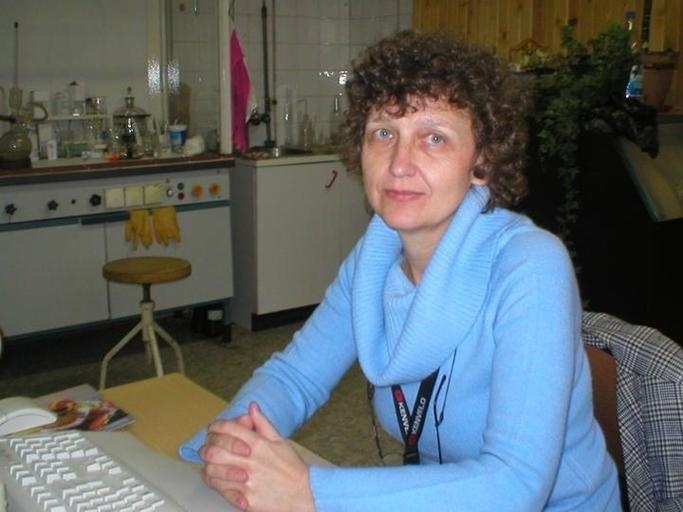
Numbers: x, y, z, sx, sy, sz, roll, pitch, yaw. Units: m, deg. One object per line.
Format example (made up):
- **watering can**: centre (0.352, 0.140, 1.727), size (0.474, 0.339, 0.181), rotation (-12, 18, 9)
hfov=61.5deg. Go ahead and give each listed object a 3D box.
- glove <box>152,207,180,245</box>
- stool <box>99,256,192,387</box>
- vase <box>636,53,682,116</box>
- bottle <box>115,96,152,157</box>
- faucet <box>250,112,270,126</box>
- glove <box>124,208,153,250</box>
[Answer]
- **glove**: centre (-1.052, -0.183, 3.439), size (0.159, 0.214, 0.068), rotation (-7, 6, -29)
- **stool**: centre (-1.002, 0.370, 2.946), size (0.479, 0.659, 0.454), rotation (0, 10, -14)
- **vase**: centre (1.733, -0.964, 3.161), size (0.176, 0.306, 0.419), rotation (7, 21, 28)
- **bottle**: centre (-1.307, -0.776, 3.587), size (0.197, 0.283, 0.234), rotation (-12, 20, -27)
- **faucet**: centre (-0.658, -1.097, 4.586), size (0.098, 0.061, 0.135), rotation (-1, 0, -22)
- **glove**: centre (-1.187, -0.166, 3.353), size (0.192, 0.209, 0.065), rotation (2, 3, -20)
